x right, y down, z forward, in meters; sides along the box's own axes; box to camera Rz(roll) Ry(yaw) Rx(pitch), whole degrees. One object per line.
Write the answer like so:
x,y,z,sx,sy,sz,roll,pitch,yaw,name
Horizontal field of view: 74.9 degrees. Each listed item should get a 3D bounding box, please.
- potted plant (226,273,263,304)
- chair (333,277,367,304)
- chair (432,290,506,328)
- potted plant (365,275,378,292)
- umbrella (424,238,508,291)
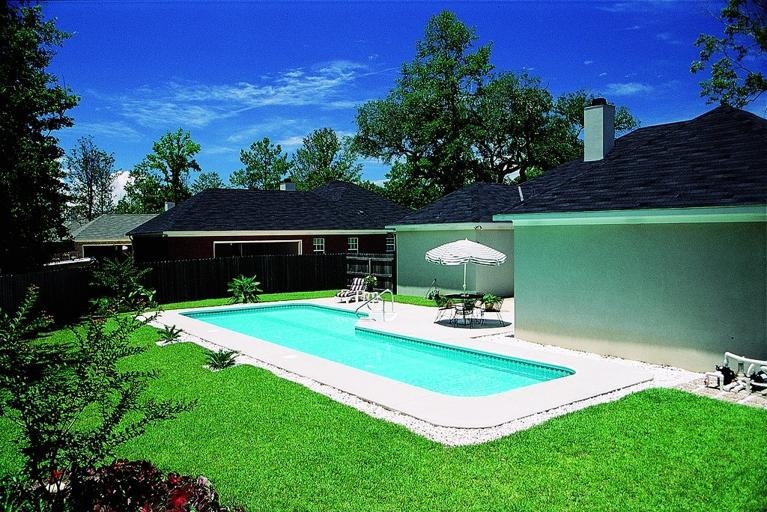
-7.542,1.886,27.180,1.706,1.255,1.717,-1,-2,-8,potted plant
-1.638,1.879,27.012,1.729,1.032,2.164,2,8,24,chair
3.586,2.105,20.493,2.795,1.331,3.159,1,7,15,chair
-0.654,1.603,27.711,0.615,0.817,0.986,-2,7,-4,potted plant
3.212,0.486,19.167,2.002,1.394,2.043,-3,8,-8,umbrella
